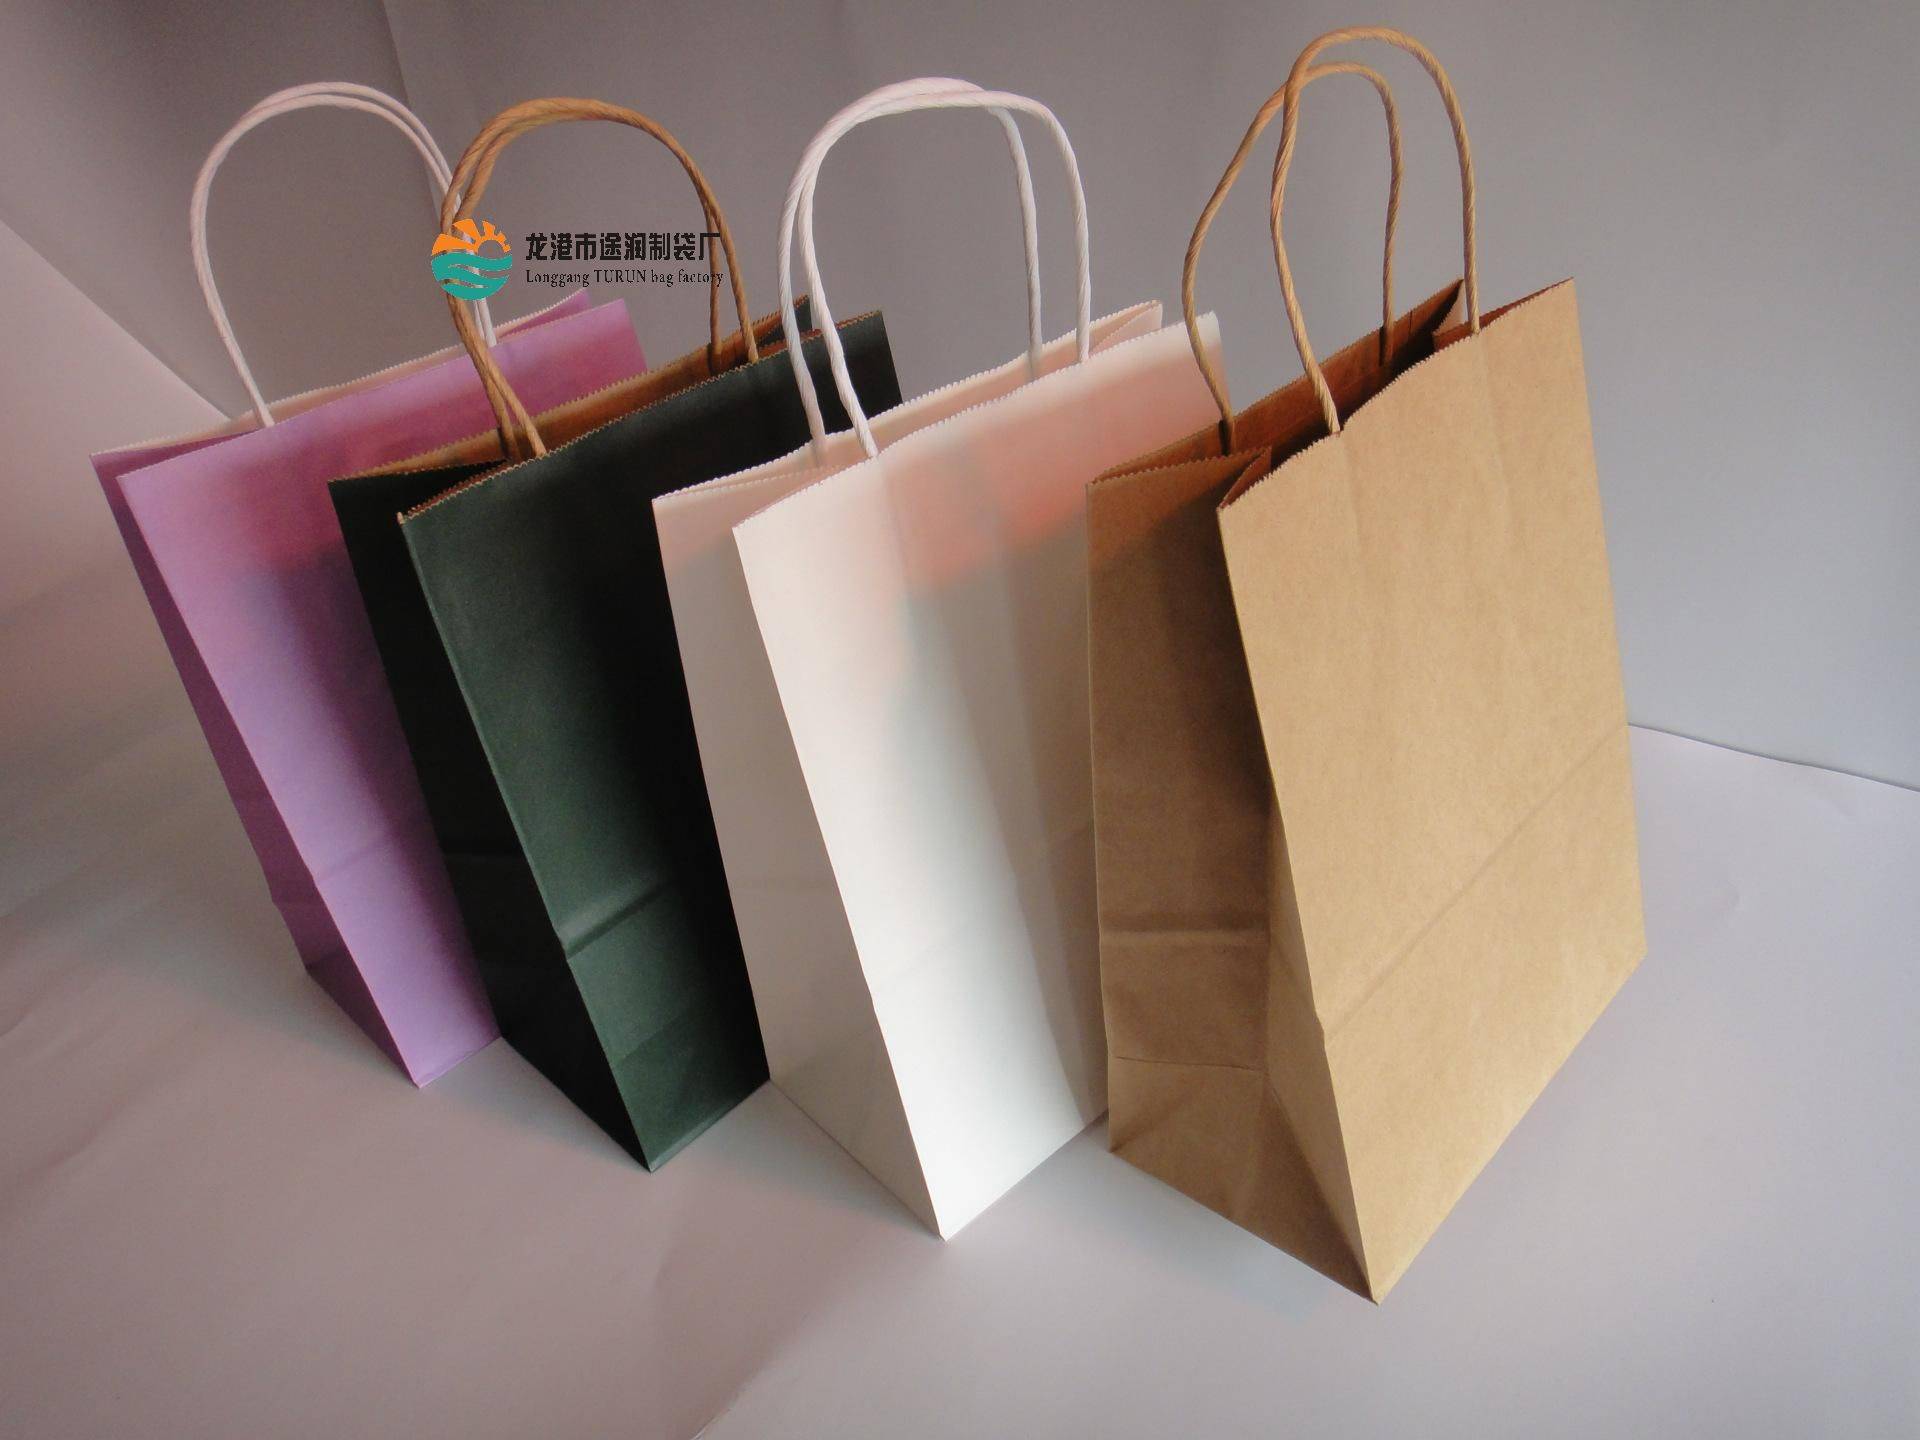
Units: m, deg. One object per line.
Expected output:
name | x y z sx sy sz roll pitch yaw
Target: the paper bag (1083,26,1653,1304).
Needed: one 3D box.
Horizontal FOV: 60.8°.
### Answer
paper bag | 0.417 -0.022 1.596 0.324 1.210 0.760 15 38 36
